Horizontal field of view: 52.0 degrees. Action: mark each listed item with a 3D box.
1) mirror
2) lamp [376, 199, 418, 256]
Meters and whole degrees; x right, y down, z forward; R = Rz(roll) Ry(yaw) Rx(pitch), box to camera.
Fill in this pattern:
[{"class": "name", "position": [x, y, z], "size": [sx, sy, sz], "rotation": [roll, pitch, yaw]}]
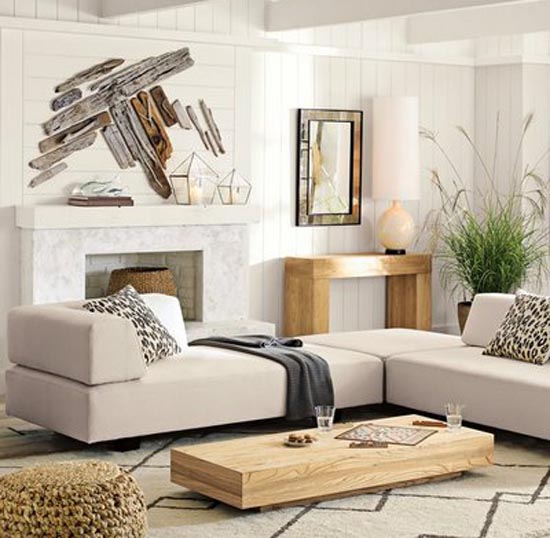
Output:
[{"class": "mirror", "position": [0.615, -1.136, 6.326], "size": [0.933, 1.327, 0.216], "rotation": [2, -4, -29]}, {"class": "lamp", "position": [1.381, -0.471, 6.415], "size": [0.361, 0.627, 0.253], "rotation": [2, -4, -24]}]
